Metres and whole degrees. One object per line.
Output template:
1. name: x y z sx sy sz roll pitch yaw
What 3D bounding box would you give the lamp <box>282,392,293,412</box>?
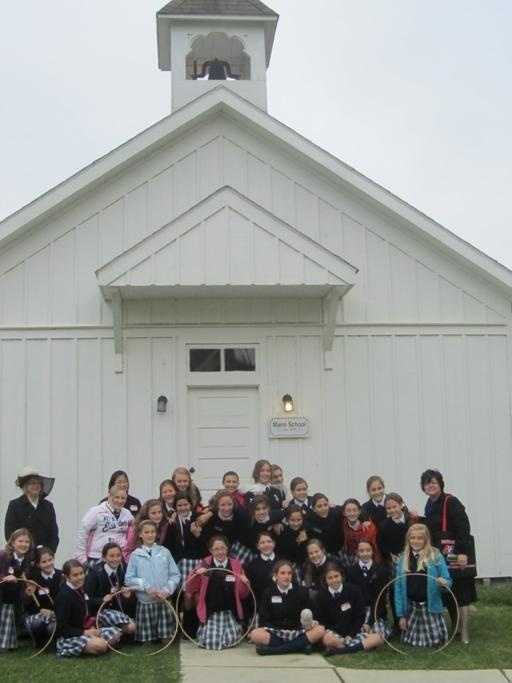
1. lamp: 0.400 0.754 11.981 0.145 0.242 0.149 1 -11 -4

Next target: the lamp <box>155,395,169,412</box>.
1. lamp: -1.145 0.757 11.778 0.139 0.221 0.135 1 -11 -7

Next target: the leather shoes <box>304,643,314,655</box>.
1. leather shoes: 0.463 2.706 8.531 0.042 0.120 0.085 0 -18 -4
